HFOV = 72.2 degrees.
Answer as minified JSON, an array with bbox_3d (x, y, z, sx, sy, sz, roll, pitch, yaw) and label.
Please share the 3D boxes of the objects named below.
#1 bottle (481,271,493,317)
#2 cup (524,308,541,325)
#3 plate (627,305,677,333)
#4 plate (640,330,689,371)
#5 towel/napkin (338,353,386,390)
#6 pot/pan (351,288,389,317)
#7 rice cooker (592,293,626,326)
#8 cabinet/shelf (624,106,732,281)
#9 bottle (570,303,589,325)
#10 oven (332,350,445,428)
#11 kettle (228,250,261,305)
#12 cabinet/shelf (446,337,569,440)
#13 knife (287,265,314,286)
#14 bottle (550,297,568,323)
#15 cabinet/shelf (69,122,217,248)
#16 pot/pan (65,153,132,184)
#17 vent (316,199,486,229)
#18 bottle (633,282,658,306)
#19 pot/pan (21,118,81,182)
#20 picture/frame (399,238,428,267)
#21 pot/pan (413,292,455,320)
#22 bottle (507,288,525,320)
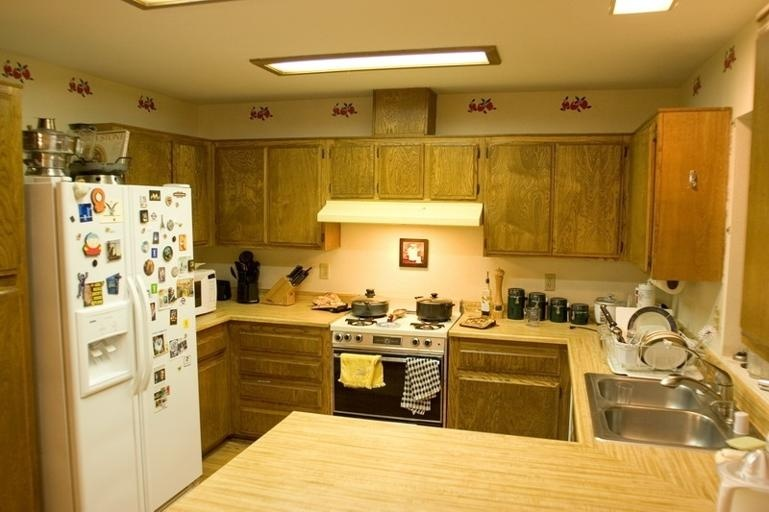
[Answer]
[{"bbox_3d":[0.937,0.342,4.809,0.096,0.349,0.267,3,13,11],"label":"bottle"},{"bbox_3d":[1.266,0.525,4.612,0.130,0.173,0.144,0,1,9],"label":"cup"},{"bbox_3d":[1.878,0.446,3.711,0.296,0.164,0.186,5,13,22],"label":"plate"},{"bbox_3d":[1.803,0.619,3.354,0.316,0.309,0.072,5,5,5],"label":"plate"},{"bbox_3d":[-0.197,0.959,4.453,0.384,0.270,0.148,-2,-6,30],"label":"towel/napkin"},{"bbox_3d":[-0.116,0.412,4.798,0.232,0.174,0.286,1,8,10],"label":"pot/pan"},{"bbox_3d":[1.912,0.417,4.553,0.276,0.284,0.274,-5,11,-20],"label":"rice cooker"},{"bbox_3d":[1.938,-0.399,3.442,0.454,1.074,1.174,2,15,10],"label":"cabinet/shelf"},{"bbox_3d":[1.685,0.503,4.582,0.169,0.160,0.172,0,1,17],"label":"bottle"},{"bbox_3d":[0.109,1.111,4.691,1.061,0.612,0.704,-2,-6,17],"label":"oven"},{"bbox_3d":[-1.375,0.191,5.260,0.277,0.474,0.416,-3,13,-15],"label":"kettle"},{"bbox_3d":[0.955,0.991,4.554,1.129,1.021,0.741,2,13,10],"label":"cabinet/shelf"},{"bbox_3d":[-0.834,0.183,5.239,0.149,0.262,0.104,40,0,6],"label":"knife"},{"bbox_3d":[1.526,0.474,4.738,0.189,0.216,0.192,3,8,38],"label":"bottle"},{"bbox_3d":[-1.843,-0.537,3.973,0.352,1.025,1.127,6,9,33],"label":"cabinet/shelf"},{"bbox_3d":[-2.016,-0.592,3.723,0.275,0.132,0.274,0,5,14],"label":"pot/pan"},{"bbox_3d":[0.150,-0.380,4.597,1.392,0.249,0.232,1,11,10],"label":"vent"},{"bbox_3d":[2.077,0.310,4.278,0.201,0.249,0.168,-2,8,15],"label":"bottle"},{"bbox_3d":[-2.224,-0.682,3.520,0.405,0.388,0.405,3,8,19],"label":"pot/pan"},{"bbox_3d":[0.287,-0.041,5.027,0.276,0.271,0.019,2,9,13],"label":"picture/frame"},{"bbox_3d":[0.455,0.448,4.650,0.231,0.207,0.319,-6,9,-36],"label":"pot/pan"},{"bbox_3d":[1.187,0.419,4.728,0.160,0.260,0.163,0,13,0],"label":"bottle"}]
